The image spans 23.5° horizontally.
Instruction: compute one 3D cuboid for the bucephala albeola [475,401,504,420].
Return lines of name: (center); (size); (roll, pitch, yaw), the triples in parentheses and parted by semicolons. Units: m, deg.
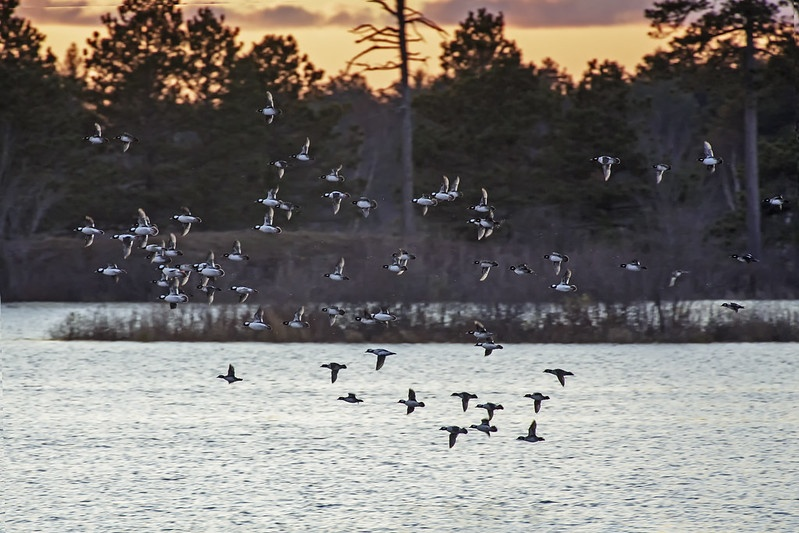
bucephala albeola: (3.356, 5.131, 70.190); (0.990, 0.579, 0.327); (6, 12, 10)
